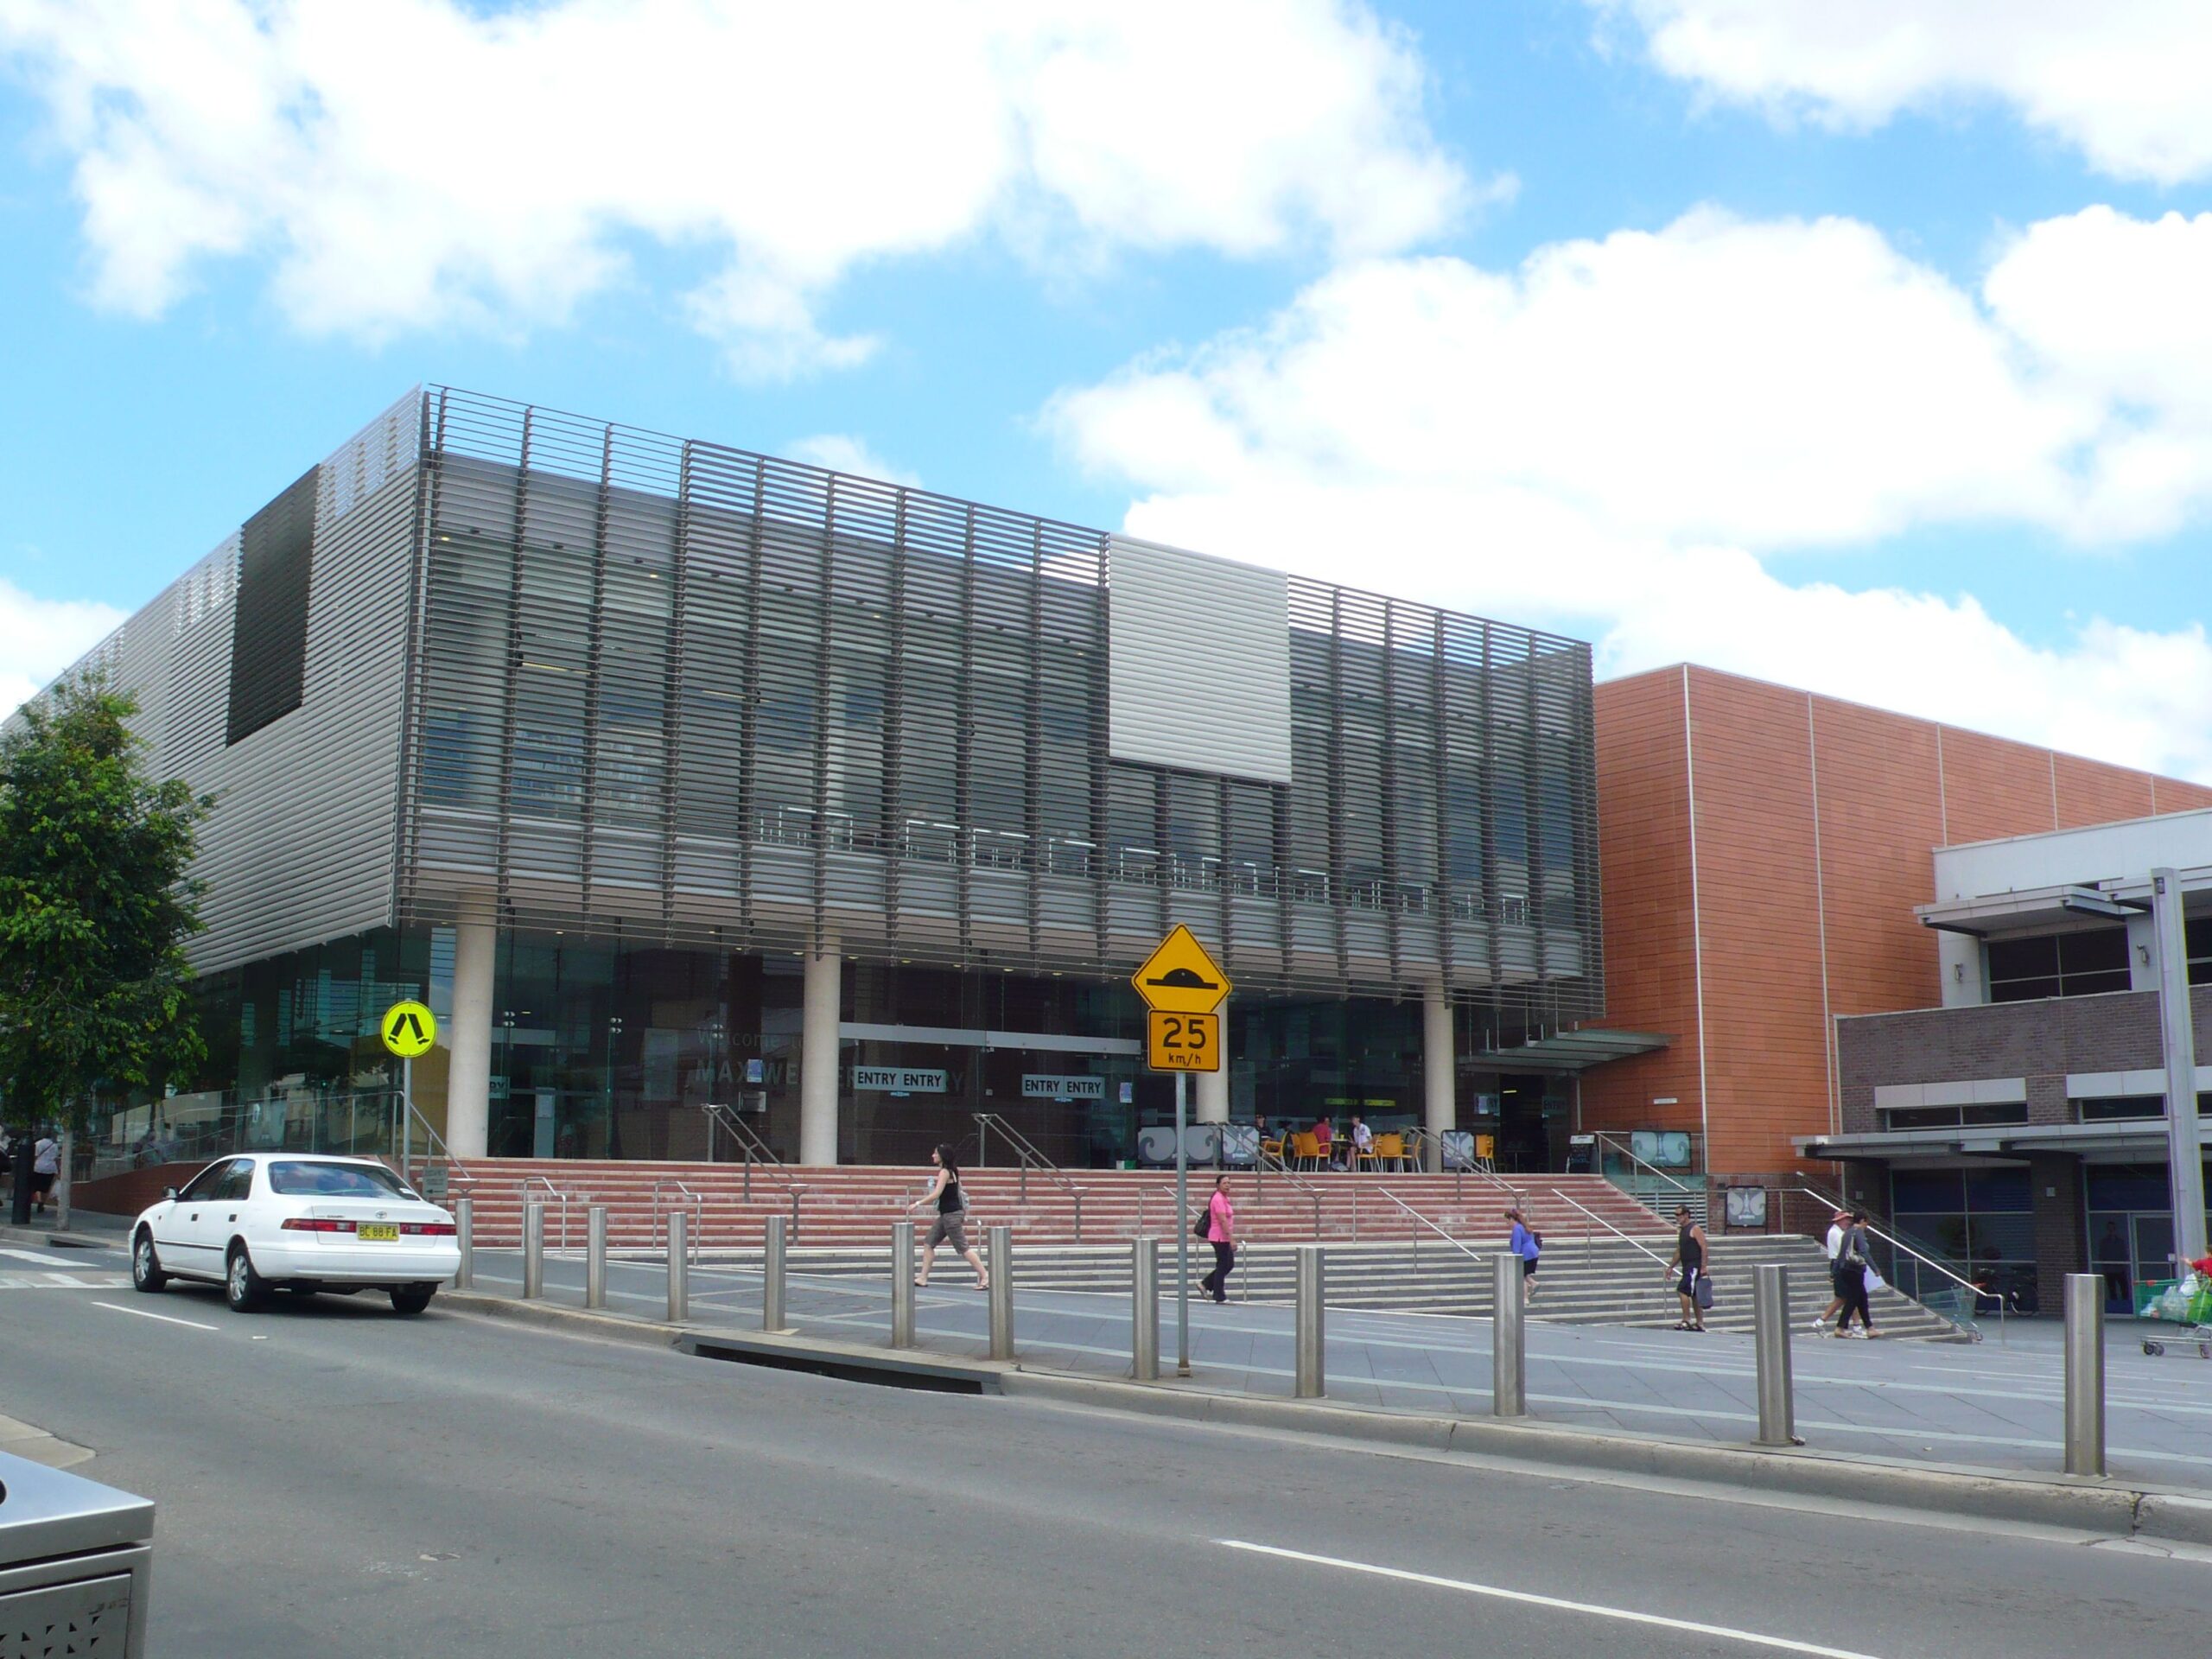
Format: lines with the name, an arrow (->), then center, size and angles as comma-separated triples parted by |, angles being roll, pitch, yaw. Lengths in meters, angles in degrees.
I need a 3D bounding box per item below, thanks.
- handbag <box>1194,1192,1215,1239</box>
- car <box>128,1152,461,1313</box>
handbag -> 1.358, 5.337, 28.619 | 0.336, 0.670, 0.488 | 7, -13, -8
car -> -9.379, 4.388, 22.811 | 4.890, 1.614, 1.572 | -7, -14, 30
